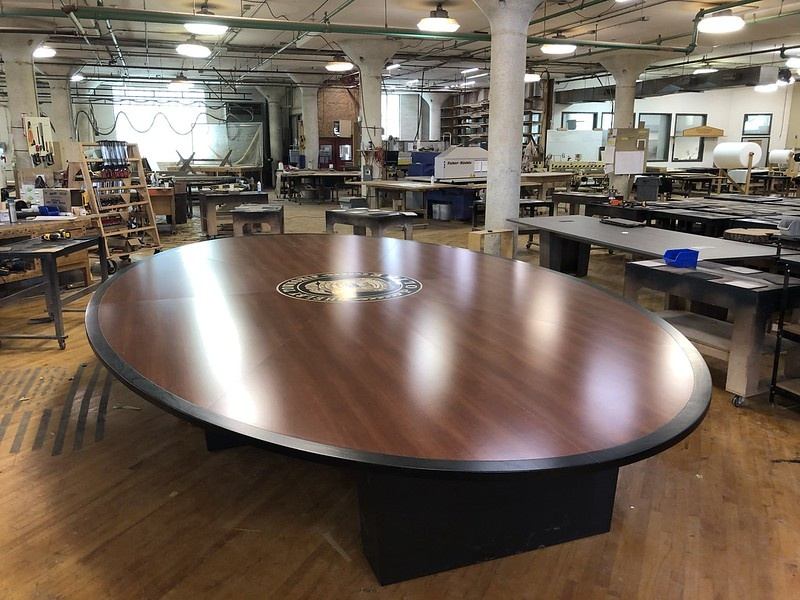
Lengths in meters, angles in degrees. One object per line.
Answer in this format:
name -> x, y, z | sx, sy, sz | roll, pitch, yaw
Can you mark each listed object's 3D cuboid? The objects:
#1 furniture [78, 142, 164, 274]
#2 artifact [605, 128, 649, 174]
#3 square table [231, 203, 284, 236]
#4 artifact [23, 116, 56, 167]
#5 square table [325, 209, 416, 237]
furniture -> -3.945, -1.392, 6.937 | 0.821, 1.458, 0.921 | 10, 15, 27
artifact -> 3.035, -1.986, 7.008 | 0.514, 0.665, 0.672 | 3, 16, 8
square table -> -2.379, -1.303, 8.345 | 0.689, 0.539, 1.914 | -6, 15, -18
artifact -> -5.379, -2.379, 7.581 | 0.334, 0.755, 1.025 | -12, 19, -32
square table -> -0.395, -0.999, 6.693 | 0.915, 0.359, 1.248 | -9, 16, -29
